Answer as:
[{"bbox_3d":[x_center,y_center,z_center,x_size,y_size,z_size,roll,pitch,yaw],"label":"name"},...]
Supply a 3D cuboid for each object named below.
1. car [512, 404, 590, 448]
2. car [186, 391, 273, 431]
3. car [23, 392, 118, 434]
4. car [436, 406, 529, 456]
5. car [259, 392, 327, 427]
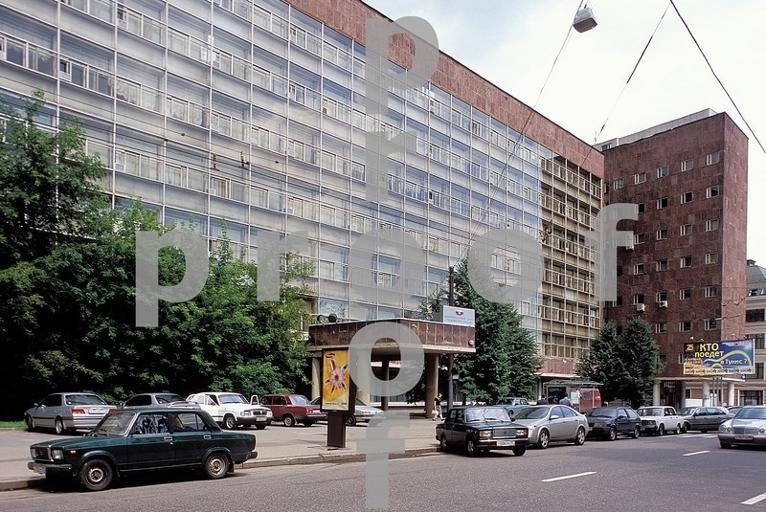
[{"bbox_3d":[8.638,9.175,43.242,2.717,2.196,6.422,-9,-12,42],"label":"car"},{"bbox_3d":[-8.880,9.129,46.934,5.725,2.036,2.154,1,-4,-17],"label":"car"},{"bbox_3d":[-17.610,8.620,44.535,6.300,1.945,2.874,-7,-10,42],"label":"car"},{"bbox_3d":[4.880,8.774,40.480,3.145,2.075,5.402,2,-8,-20],"label":"car"},{"bbox_3d":[-5.968,9.982,51.491,5.356,1.877,1.973,1,-5,-17],"label":"car"}]
